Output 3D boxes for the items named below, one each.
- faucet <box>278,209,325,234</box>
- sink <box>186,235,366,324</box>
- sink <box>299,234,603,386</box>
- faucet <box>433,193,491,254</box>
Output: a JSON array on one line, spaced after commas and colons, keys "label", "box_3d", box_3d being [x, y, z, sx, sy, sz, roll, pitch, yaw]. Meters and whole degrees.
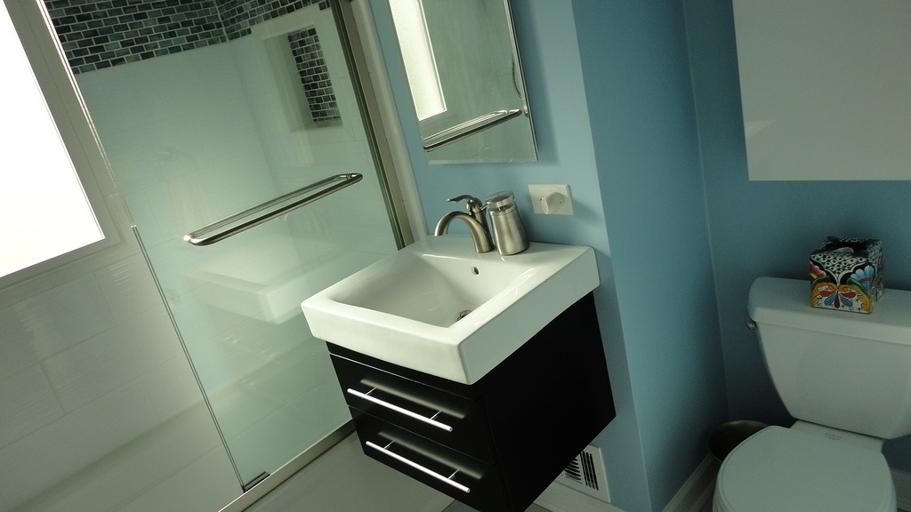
[{"label": "faucet", "box_3d": [-0.718, -0.162, 2.778, 0.128, 0.104, 0.174, -15, 6, -32]}, {"label": "sink", "box_3d": [-0.859, 0.102, 2.717, 0.467, 0.106, 0.509, 9, 21, 43]}, {"label": "sink", "box_3d": [-0.019, 0.179, 2.484, 0.826, 0.218, 0.780, 7, 23, 41]}, {"label": "faucet", "box_3d": [0.026, -0.121, 2.573, 0.104, 0.248, 0.332, 4, 12, 40]}]
